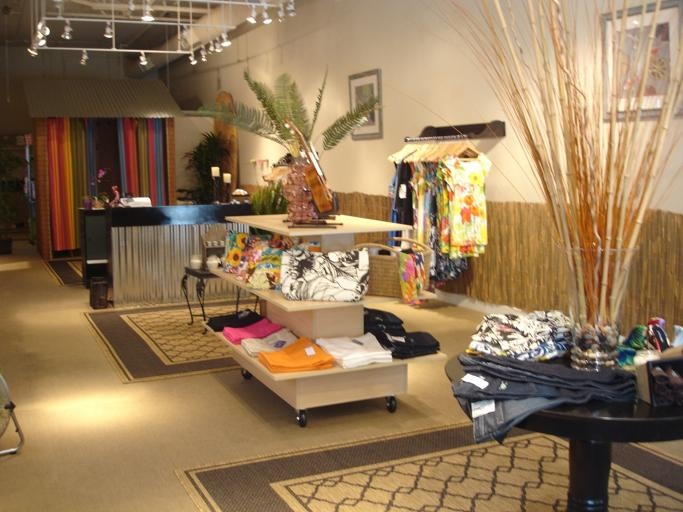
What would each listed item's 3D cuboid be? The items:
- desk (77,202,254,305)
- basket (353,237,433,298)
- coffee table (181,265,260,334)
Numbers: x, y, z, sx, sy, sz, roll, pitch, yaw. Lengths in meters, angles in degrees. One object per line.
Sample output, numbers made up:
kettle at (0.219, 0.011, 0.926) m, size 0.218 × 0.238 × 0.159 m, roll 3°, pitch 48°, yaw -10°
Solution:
desk at (-2.794, 0.187, 7.347) m, size 1.983 × 1.248 × 1.962 m, roll -2°, pitch 6°, yaw -22°
basket at (0.375, 0.078, 3.367) m, size 0.392 × 0.348 × 0.470 m, roll -8°, pitch 6°, yaw -39°
coffee table at (-1.570, 0.352, 6.019) m, size 0.758 × 0.797 × 1.209 m, roll 0°, pitch 3°, yaw -29°
